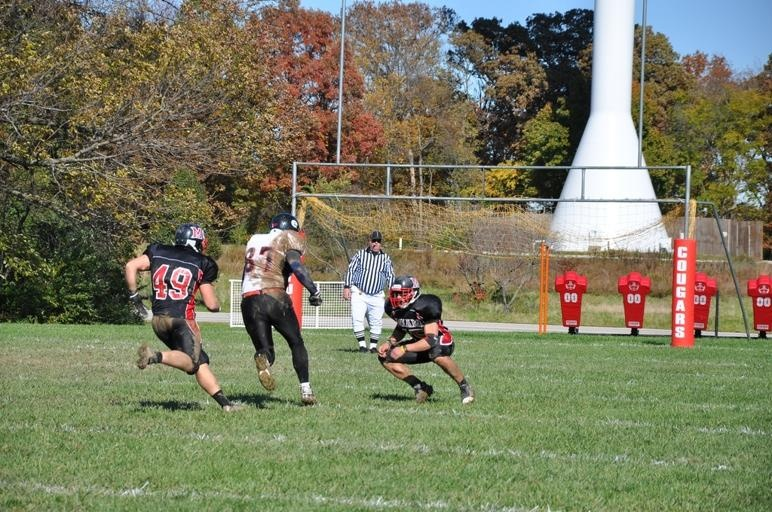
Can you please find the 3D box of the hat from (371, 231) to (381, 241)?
[{"bbox_3d":[-0.265,-0.492,28.105,0.279,0.262,0.399,0,-2,-4],"label":"hat"}]

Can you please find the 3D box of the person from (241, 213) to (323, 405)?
[{"bbox_3d":[-2.230,1.093,22.775,1.492,3.950,0.640,0,-2,-1],"label":"person"}]

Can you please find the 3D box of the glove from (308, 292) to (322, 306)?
[{"bbox_3d":[-1.451,0.886,22.651,0.206,0.276,0.278,0,-9,-4],"label":"glove"}]

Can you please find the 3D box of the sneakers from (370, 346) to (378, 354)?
[{"bbox_3d":[-0.319,2.427,28.482,0.172,0.159,0.148,0,-1,-1],"label":"sneakers"}]

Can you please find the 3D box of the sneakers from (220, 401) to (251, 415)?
[{"bbox_3d":[-3.058,3.115,22.636,0.610,0.267,0.197,-5,-4,6],"label":"sneakers"}]

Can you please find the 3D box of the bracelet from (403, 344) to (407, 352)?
[{"bbox_3d":[0.410,1.942,23.281,0.098,0.128,0.030,0,-2,7],"label":"bracelet"}]
